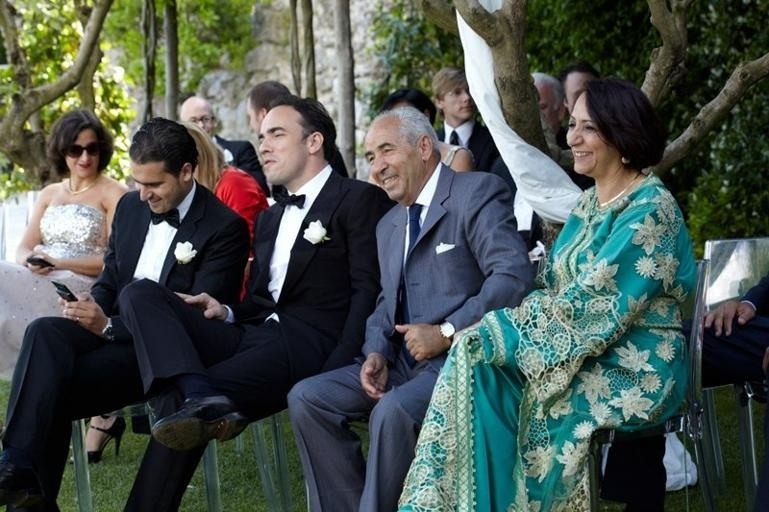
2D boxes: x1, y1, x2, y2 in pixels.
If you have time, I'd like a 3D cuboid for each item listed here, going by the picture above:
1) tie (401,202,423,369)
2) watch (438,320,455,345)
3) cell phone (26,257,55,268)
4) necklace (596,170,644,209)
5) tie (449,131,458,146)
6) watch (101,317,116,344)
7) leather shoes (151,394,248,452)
[{"bbox_3d":[0.169,0.132,5.794,0.097,0.878,0.100,-5,-5,32],"label":"tie"},{"bbox_3d":[0.353,0.442,5.554,0.105,0.079,0.115,5,-22,-27],"label":"watch"},{"bbox_3d":[-2.489,0.053,7.062,0.115,0.027,0.112,21,-17,-37],"label":"cell phone"},{"bbox_3d":[1.317,-0.375,5.498,0.041,0.198,0.196,36,7,12],"label":"necklace"},{"bbox_3d":[0.538,-0.927,7.765,0.096,0.142,0.038,-6,-8,29],"label":"tie"},{"bbox_3d":[-1.674,0.462,5.931,0.047,0.120,0.104,7,-42,3],"label":"watch"},{"bbox_3d":[-1.010,0.947,5.425,0.513,0.261,0.241,-7,37,-5],"label":"leather shoes"}]
